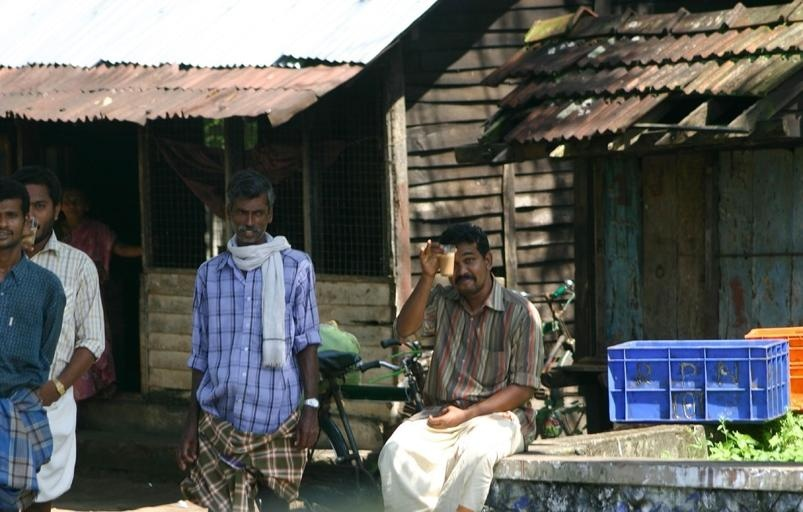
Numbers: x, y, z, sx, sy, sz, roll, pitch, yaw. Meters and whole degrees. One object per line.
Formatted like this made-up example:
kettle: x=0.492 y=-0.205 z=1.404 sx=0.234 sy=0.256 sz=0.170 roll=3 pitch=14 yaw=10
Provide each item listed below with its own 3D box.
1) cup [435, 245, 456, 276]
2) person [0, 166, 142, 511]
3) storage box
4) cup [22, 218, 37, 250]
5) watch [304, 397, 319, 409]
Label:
cup: x=0.411 y=0.047 z=16.648 sx=0.204 sy=0.303 sz=0.144 roll=-1 pitch=-4 yaw=35
person: x=-3.155 y=0.776 z=16.640 sx=0.855 sy=3.202 sz=0.459 roll=4 pitch=-4 yaw=-41
storage box: x=2.749 y=1.151 z=16.550 sx=1.638 sy=0.796 sz=0.478 roll=1 pitch=-4 yaw=8
cup: x=-3.405 y=-0.197 z=16.596 sx=0.096 sy=0.302 sz=0.192 roll=1 pitch=-4 yaw=17
watch: x=-0.802 y=1.346 z=16.379 sx=0.109 sy=0.081 sz=0.112 roll=-2 pitch=-2 yaw=24
